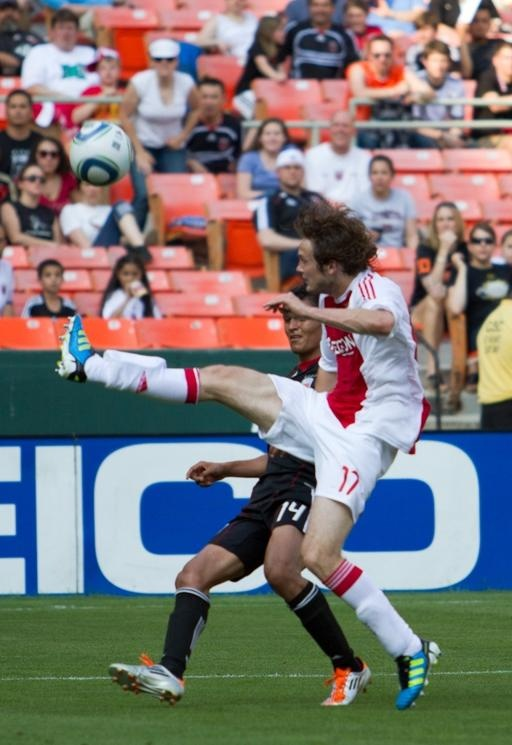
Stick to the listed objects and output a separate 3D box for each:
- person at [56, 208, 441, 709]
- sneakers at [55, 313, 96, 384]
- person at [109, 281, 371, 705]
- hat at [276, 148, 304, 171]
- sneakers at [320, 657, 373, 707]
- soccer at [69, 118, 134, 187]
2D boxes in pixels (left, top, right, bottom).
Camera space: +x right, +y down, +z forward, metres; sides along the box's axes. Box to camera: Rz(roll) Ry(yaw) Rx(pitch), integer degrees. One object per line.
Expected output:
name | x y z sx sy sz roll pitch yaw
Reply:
person | 0.207 0.261 5.652 1.624 1.777 0.901 18 30 26
sneakers | -0.766 -0.130 5.677 0.128 0.172 0.324 10 67 -17
person | -0.099 0.693 6.736 1.509 0.832 2.052 20 48 -20
hat | 0.236 -1.559 9.909 0.170 0.114 0.175 -7 -12 44
sneakers | 0.349 1.290 5.537 0.090 0.113 0.270 3 34 49
soccer | -0.811 -1.142 7.381 0.363 0.344 0.388 -2 49 7
